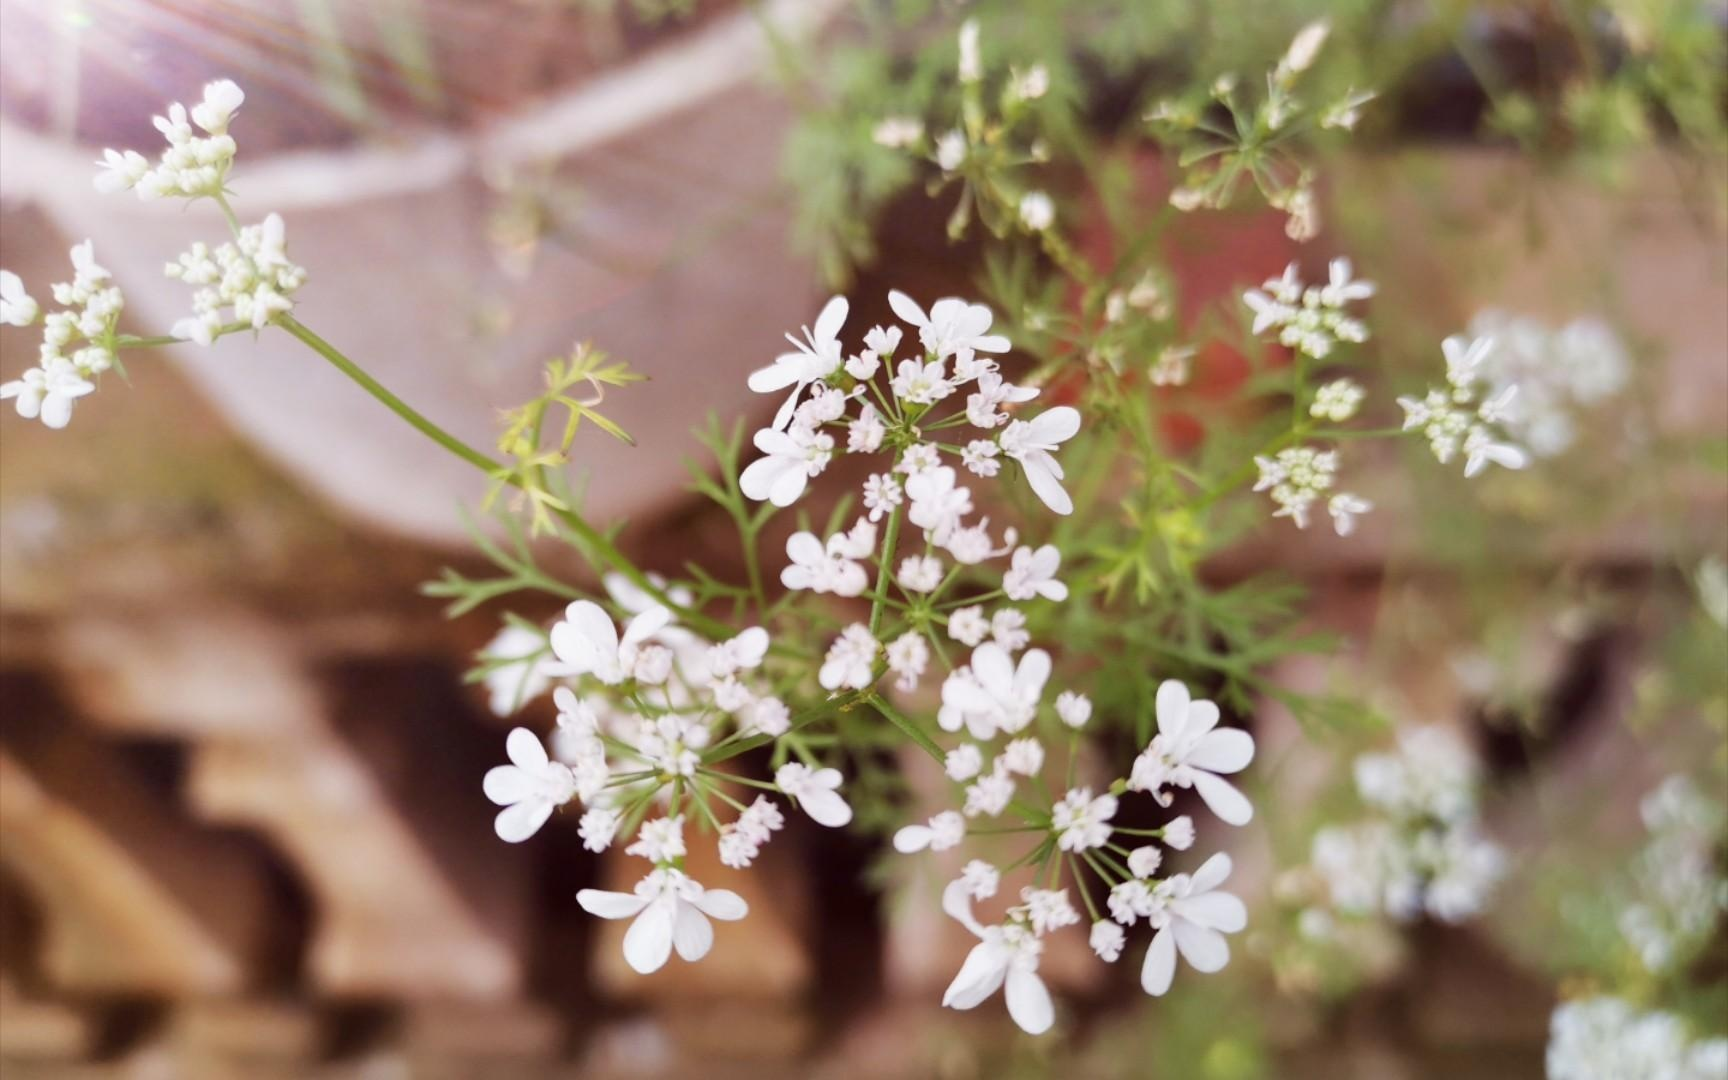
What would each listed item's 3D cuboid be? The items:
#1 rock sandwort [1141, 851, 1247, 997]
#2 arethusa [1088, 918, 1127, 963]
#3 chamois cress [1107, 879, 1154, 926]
[{"bbox_3d":[0.884,1.021,4.764,0.285,0.205,0.351,-5,-61,-15],"label":"rock sandwort"},{"bbox_3d":[0.652,1.068,4.679,0.073,0.078,0.102,-19,-58,-6],"label":"arethusa"},{"bbox_3d":[0.703,0.970,4.687,0.123,0.050,0.114,-20,-78,-3],"label":"chamois cress"}]
